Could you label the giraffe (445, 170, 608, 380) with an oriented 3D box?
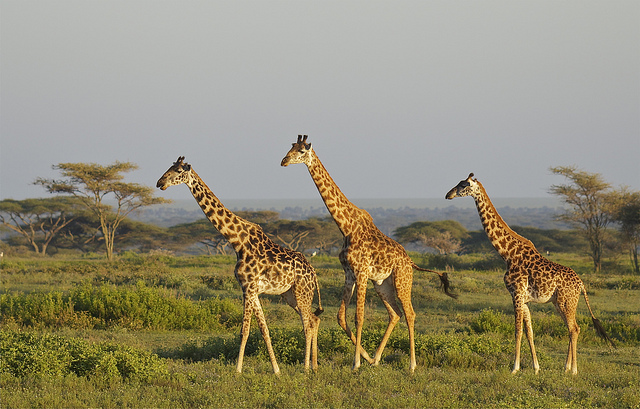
[{"bbox_3d":[8.395,3.120,42.073,5.770,13.512,5.536,-1,-2,35],"label":"giraffe"}]
